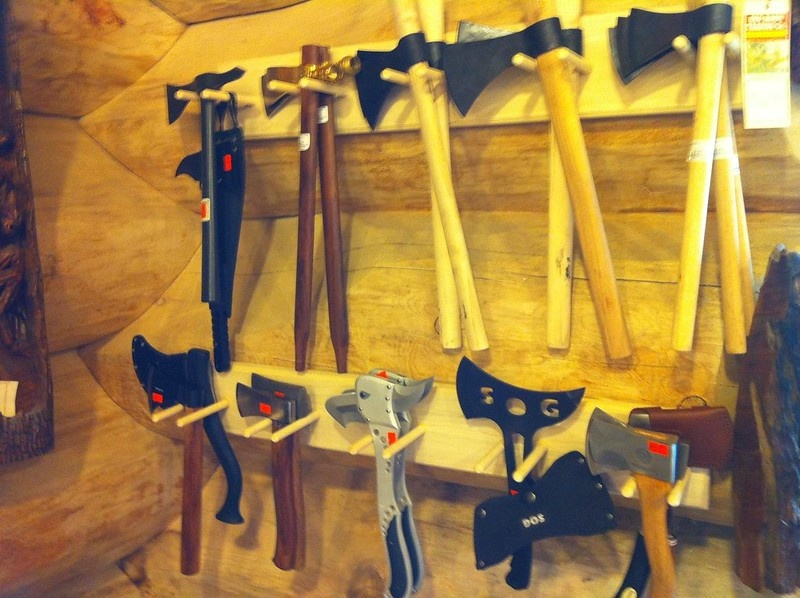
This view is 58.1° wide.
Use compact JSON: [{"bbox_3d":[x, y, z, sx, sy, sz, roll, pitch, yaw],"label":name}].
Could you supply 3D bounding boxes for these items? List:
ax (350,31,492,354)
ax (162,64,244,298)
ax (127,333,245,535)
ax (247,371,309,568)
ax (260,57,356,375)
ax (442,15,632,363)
[{"bbox_3d":[0.032,-0.195,1.425,0.186,0.626,0.046,-3,11,18],"label":"ax"},{"bbox_3d":[-0.454,-0.258,1.646,0.238,0.513,0.121,4,8,39],"label":"ax"},{"bbox_3d":[-0.507,0.312,1.698,0.272,0.442,0.215,-2,6,-7],"label":"ax"},{"bbox_3d":[-0.259,0.392,1.612,0.131,0.445,0.100,-2,6,-10],"label":"ax"},{"bbox_3d":[-0.192,-0.187,1.537,0.220,0.691,0.161,-1,6,3],"label":"ax"},{"bbox_3d":[0.247,-0.221,1.318,0.321,0.643,0.135,-1,6,3],"label":"ax"}]
